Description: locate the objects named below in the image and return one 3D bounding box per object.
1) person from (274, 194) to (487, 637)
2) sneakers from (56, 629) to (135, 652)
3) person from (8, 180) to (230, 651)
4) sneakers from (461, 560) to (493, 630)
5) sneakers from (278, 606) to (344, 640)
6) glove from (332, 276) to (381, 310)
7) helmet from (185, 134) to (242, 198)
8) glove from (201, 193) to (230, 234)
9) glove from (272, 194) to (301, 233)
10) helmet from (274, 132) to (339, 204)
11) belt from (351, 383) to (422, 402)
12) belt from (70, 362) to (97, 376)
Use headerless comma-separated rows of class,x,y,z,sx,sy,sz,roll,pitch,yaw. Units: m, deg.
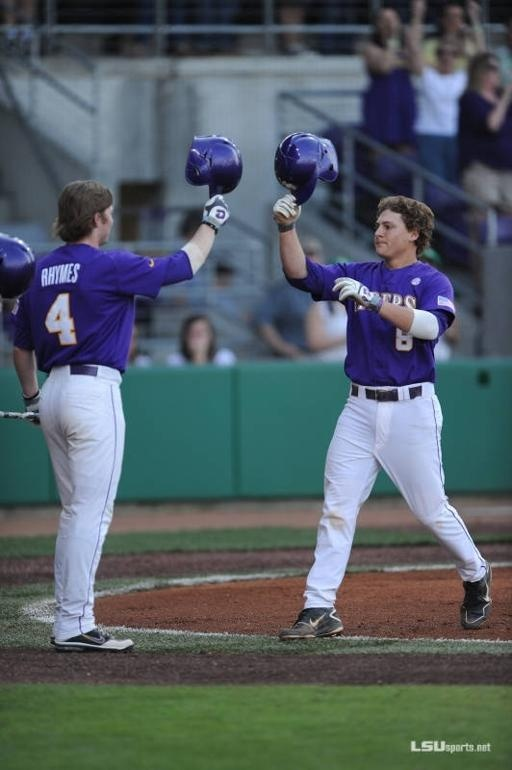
person,0.559,0.120,5.949,0.937,1.892,0.613,-1,6,0
sneakers,-0.654,1.055,5.632,0.334,0.126,0.113,-2,-4,-7
person,-0.603,0.118,5.717,0.907,1.934,0.590,-1,6,-1
sneakers,0.962,0.925,6.019,0.099,0.285,0.118,-3,-29,41
sneakers,0.248,1.017,5.827,0.293,0.116,0.111,0,-5,-23
glove,0.407,-0.380,5.720,0.189,0.131,0.265,-2,5,-14
helmet,-0.200,-0.982,6.174,0.291,0.287,0.251,8,15,14
glove,-0.178,-0.726,5.852,0.123,0.163,0.076,1,-20,9
glove,0.137,-0.751,5.920,0.076,0.156,0.121,7,-29,-21
helmet,0.209,-0.976,6.176,0.246,0.335,0.319,1,6,23
belt,0.559,0.036,5.885,0.313,0.071,0.118,0,5,11
belt,-0.696,-0.056,5.525,0.109,0.049,0.032,-2,6,-11
